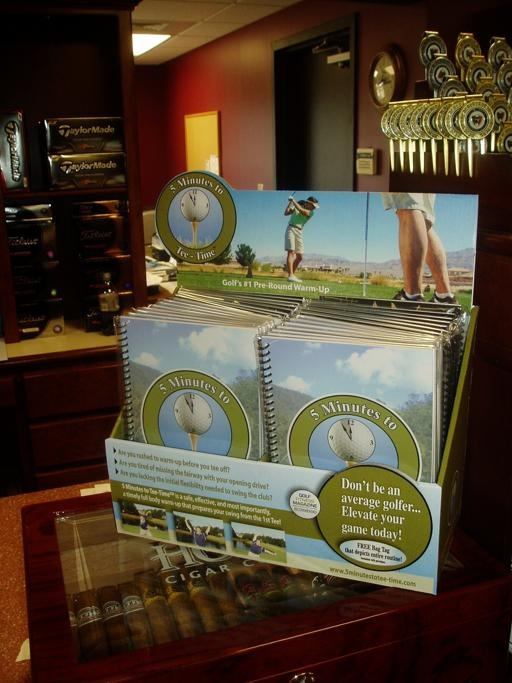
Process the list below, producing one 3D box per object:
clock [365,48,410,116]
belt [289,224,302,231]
[{"bbox_3d":[0.816,-1.670,3.432,0.098,0.369,0.352,-6,9,-16],"label":"clock"},{"bbox_3d":[0.045,-0.129,0.616,0.009,0.010,0.010,11,27,13],"label":"belt"}]
